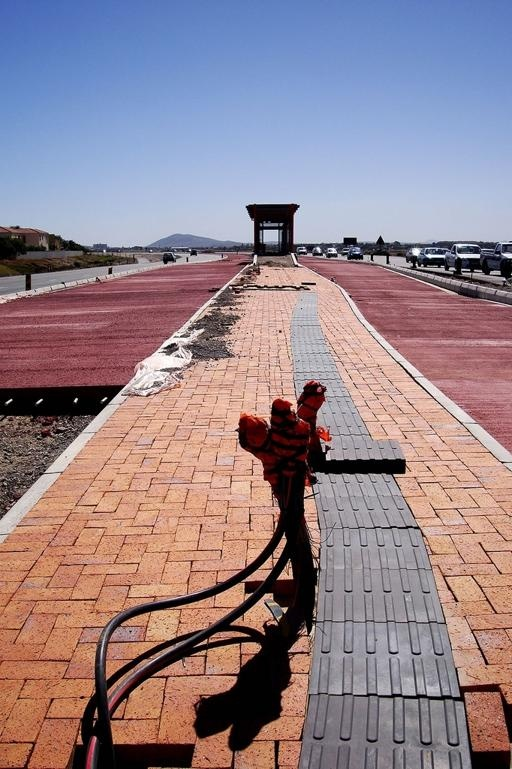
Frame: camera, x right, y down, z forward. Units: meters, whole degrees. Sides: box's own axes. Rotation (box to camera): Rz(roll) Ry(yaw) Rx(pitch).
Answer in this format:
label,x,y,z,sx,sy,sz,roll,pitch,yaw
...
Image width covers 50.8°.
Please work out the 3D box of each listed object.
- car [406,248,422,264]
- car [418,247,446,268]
label,x,y,z,sx,sy,sz,roll,pitch,yaw
car,13.480,-10.977,45.610,1.069,1.092,2.398,-2,8,1
car,13.377,-9.771,41.523,1.498,1.274,2.672,-2,9,1
